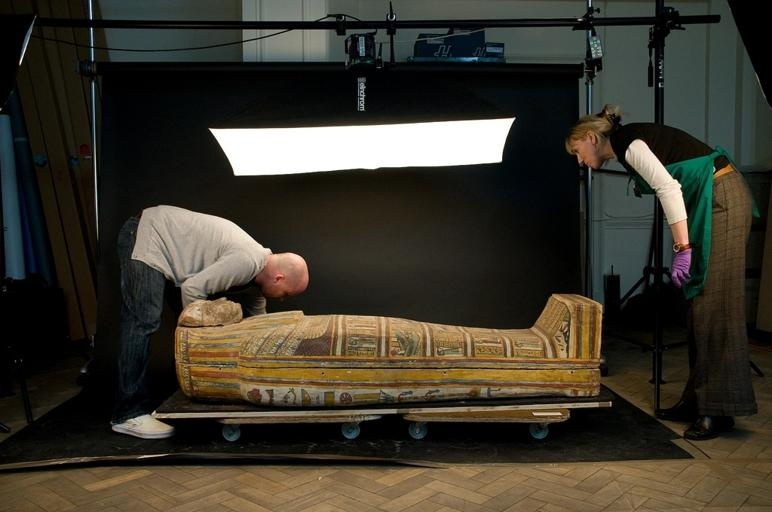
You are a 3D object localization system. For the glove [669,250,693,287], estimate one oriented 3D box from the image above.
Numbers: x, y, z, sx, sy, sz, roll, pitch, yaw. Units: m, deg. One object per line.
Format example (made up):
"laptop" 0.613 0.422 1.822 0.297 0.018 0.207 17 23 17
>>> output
"glove" 1.988 0.080 4.685 0.122 0.294 0.147 7 16 22

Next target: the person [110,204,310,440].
"person" -1.282 0.447 4.779 1.170 1.511 0.573 0 15 -4

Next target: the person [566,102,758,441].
"person" 1.980 0.100 4.771 1.222 2.185 0.644 7 16 20

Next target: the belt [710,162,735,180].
"belt" 2.273 -0.573 4.693 0.133 0.047 0.126 -23 -13 5

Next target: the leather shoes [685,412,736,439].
"leather shoes" 2.208 1.156 4.817 0.396 0.142 0.140 -2 2 -23

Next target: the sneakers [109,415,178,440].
"sneakers" -1.626 1.161 4.706 0.415 0.135 0.168 1 2 7

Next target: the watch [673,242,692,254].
"watch" 1.971 -0.055 4.630 0.106 0.070 0.104 6 14 20
